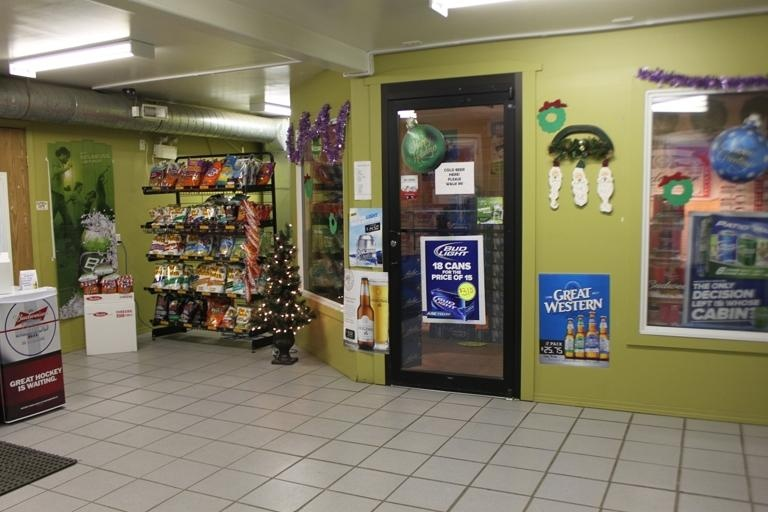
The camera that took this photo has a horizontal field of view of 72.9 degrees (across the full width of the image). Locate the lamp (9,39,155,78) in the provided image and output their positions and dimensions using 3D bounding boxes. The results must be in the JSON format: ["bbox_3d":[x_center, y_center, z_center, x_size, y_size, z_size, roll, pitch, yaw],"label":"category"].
[{"bbox_3d":[-3.573,-2.296,6.012,1.922,0.274,0.315,2,11,18],"label":"lamp"}]
